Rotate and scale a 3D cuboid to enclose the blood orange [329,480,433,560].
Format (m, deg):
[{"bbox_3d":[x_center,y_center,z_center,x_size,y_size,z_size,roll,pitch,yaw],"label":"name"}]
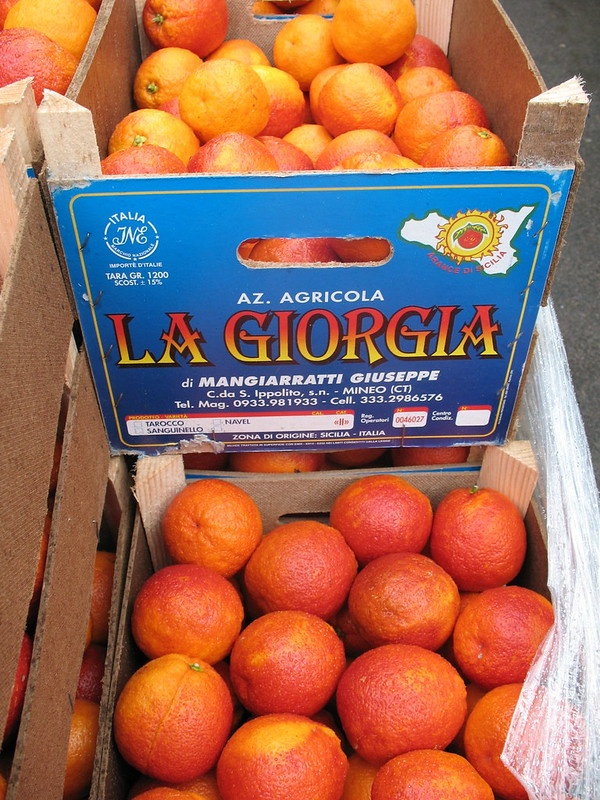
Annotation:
[{"bbox_3d":[0.112,0.156,0.843,0.116,0.114,0.113,3,64,5],"label":"blood orange"}]

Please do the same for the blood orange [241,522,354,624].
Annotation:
[{"bbox_3d":[0.000,0.198,0.857,0.126,0.146,0.124,-22,94,-32],"label":"blood orange"}]

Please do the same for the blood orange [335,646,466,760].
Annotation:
[{"bbox_3d":[0.107,0.294,0.675,0.120,0.128,0.116,-1,69,10],"label":"blood orange"}]

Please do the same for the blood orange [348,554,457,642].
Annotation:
[{"bbox_3d":[0.131,0.253,0.814,0.113,0.111,0.109,11,49,4],"label":"blood orange"}]

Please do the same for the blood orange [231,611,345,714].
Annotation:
[{"bbox_3d":[0.001,0.302,0.755,0.126,0.098,0.096,-5,42,-31],"label":"blood orange"}]

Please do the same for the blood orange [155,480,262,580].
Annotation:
[{"bbox_3d":[-0.110,0.150,0.871,0.118,0.136,0.121,23,89,17],"label":"blood orange"}]
